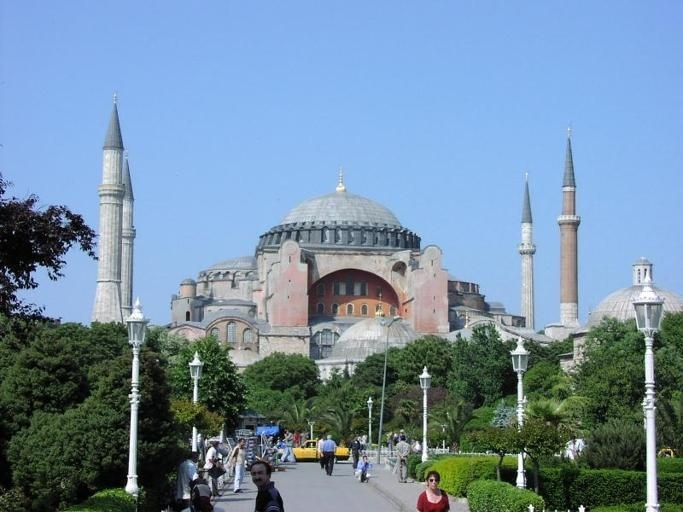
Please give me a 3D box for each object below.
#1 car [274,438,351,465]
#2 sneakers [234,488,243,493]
[{"bbox_3d":[-0.877,7.393,61.612,2.437,0.798,1.116,2,-8,-4],"label":"car"},{"bbox_3d":[-2.900,6.716,46.291,0.242,0.108,0.088,-2,7,-22],"label":"sneakers"}]
